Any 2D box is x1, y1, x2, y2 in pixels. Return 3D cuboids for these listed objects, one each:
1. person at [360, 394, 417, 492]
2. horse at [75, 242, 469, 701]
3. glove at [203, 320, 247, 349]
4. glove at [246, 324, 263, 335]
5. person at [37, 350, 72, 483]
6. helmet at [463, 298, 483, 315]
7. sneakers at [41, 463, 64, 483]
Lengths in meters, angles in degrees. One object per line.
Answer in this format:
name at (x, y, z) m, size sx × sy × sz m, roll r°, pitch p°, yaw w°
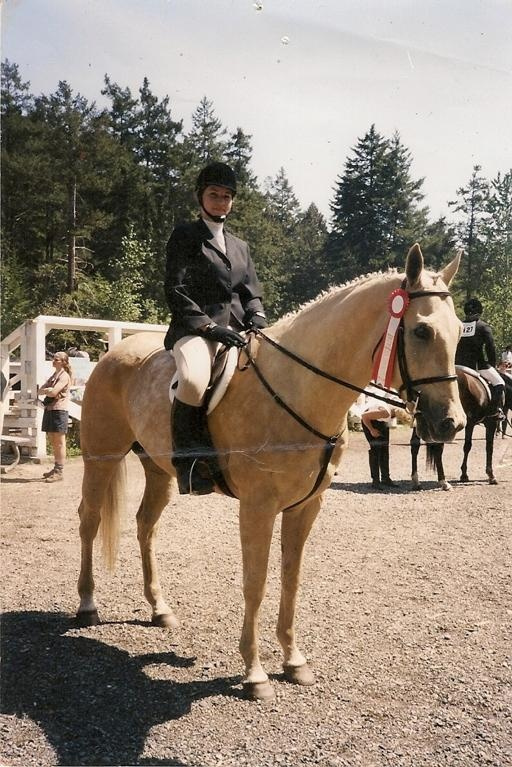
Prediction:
person at (1.441, 0.740, 8.732) m, size 0.496 × 0.356 × 1.130 m, roll -4°, pitch -23°, yaw 10°
horse at (-0.071, 0.497, 4.247) m, size 0.738 × 2.141 × 2.748 m, roll 4°, pitch -2°, yaw -44°
glove at (-0.142, -0.226, 3.870) m, size 0.192 × 0.079 × 0.106 m, roll 23°, pitch 5°, yaw 12°
glove at (0.000, -0.280, 4.099) m, size 0.067 × 0.032 × 0.046 m, roll 0°, pitch 2°, yaw -24°
person at (-2.271, 0.385, 9.027) m, size 0.297 × 1.425 × 0.587 m, roll -1°, pitch 5°, yaw -14°
helmet at (2.621, -0.912, 9.564) m, size 0.206 × 0.252 × 0.386 m, roll 0°, pitch -1°, yaw 1°
sneakers at (-2.276, 1.007, 8.925) m, size 0.217 × 0.205 × 0.258 m, roll -1°, pitch 5°, yaw -18°
